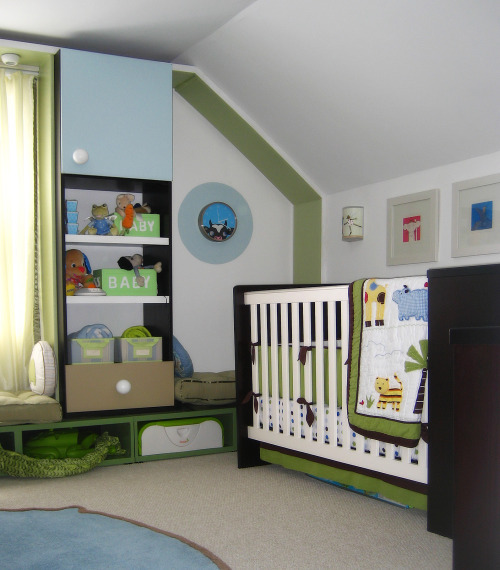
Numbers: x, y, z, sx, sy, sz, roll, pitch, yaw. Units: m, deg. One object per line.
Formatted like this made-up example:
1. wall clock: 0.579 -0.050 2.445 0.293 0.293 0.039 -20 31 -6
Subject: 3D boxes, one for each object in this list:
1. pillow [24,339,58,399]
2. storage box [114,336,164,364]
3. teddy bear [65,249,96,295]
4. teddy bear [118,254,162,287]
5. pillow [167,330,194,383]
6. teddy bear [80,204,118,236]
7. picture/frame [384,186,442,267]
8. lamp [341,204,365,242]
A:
1. pillow: -0.989 0.414 2.491 0.123 0.290 0.223 1 3 -23
2. storage box: -0.553 0.321 2.618 0.151 0.087 0.152 0 2 -18
3. teddy bear: -0.874 -0.066 2.638 0.167 0.223 0.140 -6 0 -43
4. teddy bear: -0.570 -0.071 2.700 0.194 0.178 0.090 5 -25 -24
5. pillow: -0.387 0.428 3.047 0.078 0.231 0.169 -17 -9 30
6. teddy bear: -0.748 -0.287 2.676 0.225 0.222 0.139 1 -7 -20
7. picture/frame: 0.801 -0.280 2.505 0.028 0.393 0.396 4 -6 -27
8. lamp: 0.571 -0.343 2.902 0.074 0.191 0.131 -1 4 -39
